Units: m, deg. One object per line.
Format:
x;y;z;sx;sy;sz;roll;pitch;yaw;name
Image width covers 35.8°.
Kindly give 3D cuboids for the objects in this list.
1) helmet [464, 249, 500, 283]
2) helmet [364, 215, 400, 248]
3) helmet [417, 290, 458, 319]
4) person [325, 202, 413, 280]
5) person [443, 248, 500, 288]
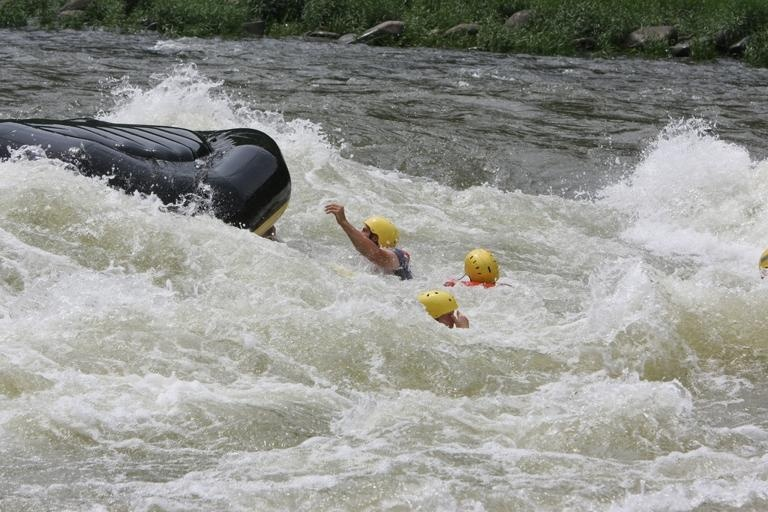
1.430;0.136;17.838;0.541;0.505;0.643;-3;23;1;helmet
-0.061;-0.380;18.091;0.599;0.384;0.391;11;13;-6;helmet
0.760;0.658;16.747;0.550;0.271;0.350;11;10;5;helmet
-0.256;-0.186;18.259;1.457;0.635;0.941;42;22;7;person
1.374;0.147;17.712;0.830;0.520;0.498;-14;43;12;person
